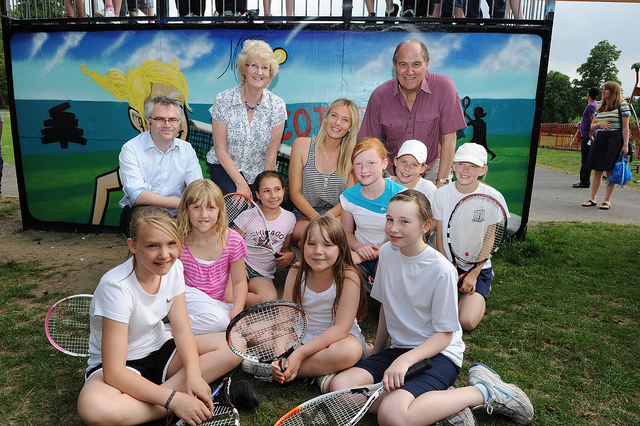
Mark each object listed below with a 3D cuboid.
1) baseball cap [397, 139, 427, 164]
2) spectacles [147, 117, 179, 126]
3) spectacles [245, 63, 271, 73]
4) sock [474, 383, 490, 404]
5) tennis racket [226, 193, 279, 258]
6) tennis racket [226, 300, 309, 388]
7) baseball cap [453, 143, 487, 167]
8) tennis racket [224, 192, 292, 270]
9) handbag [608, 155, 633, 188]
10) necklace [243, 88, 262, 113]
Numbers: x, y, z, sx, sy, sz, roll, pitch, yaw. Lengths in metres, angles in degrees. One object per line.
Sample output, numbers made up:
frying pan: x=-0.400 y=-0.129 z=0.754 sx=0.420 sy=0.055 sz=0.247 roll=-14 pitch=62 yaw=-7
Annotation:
baseball cap: x=1.148 y=-0.765 z=4.920 sx=0.347 sy=0.281 sz=0.291 roll=1 pitch=13 yaw=2
spectacles: x=-1.937 y=-1.147 z=4.922 sx=0.304 sy=0.095 sz=0.092 roll=-4 pitch=14 yaw=-23
spectacles: x=-0.838 y=-1.973 z=5.358 sx=0.320 sy=0.099 sz=0.082 roll=-1 pitch=13 yaw=-10
sock: x=1.397 y=1.558 z=3.396 sx=0.098 sy=0.051 sz=0.136 roll=-16 pitch=65 yaw=-17
tennis racket: x=-0.870 y=0.127 z=4.857 sx=0.976 sy=0.402 sz=0.048 roll=41 pitch=37 yaw=10
tennis racket: x=-0.444 y=1.078 z=3.315 sx=0.625 sy=0.760 sz=0.256 roll=-7 pitch=15 yaw=-32
baseball cap: x=1.765 y=-0.686 z=4.628 sx=0.347 sy=0.267 sz=0.270 roll=5 pitch=13 yaw=18
tennis racket: x=-0.880 y=0.129 z=4.849 sx=1.266 sy=0.511 sz=0.075 roll=44 pitch=35 yaw=9
handbag: x=7.156 y=-1.012 z=9.379 sx=0.378 sy=0.731 sz=0.663 roll=12 pitch=17 yaw=40
necklace: x=-0.959 y=-1.601 z=5.544 sx=0.212 sy=0.281 sz=0.068 roll=0 pitch=26 yaw=3
